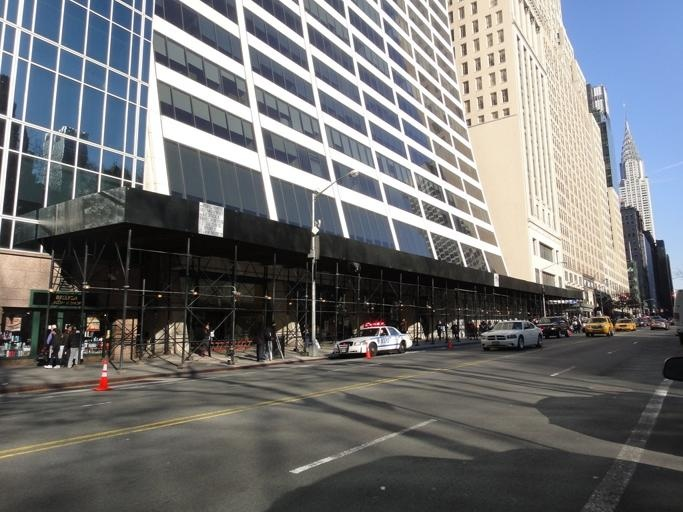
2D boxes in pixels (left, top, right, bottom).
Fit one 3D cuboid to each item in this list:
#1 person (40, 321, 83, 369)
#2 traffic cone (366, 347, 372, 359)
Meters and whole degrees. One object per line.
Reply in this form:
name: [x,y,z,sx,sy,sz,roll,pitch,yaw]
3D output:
person: [-12.353,3.928,22.231,1.645,1.738,1.072,0,-3,-2]
traffic cone: [1.406,5.018,26.146,0.331,0.444,0.367,-3,-11,9]
